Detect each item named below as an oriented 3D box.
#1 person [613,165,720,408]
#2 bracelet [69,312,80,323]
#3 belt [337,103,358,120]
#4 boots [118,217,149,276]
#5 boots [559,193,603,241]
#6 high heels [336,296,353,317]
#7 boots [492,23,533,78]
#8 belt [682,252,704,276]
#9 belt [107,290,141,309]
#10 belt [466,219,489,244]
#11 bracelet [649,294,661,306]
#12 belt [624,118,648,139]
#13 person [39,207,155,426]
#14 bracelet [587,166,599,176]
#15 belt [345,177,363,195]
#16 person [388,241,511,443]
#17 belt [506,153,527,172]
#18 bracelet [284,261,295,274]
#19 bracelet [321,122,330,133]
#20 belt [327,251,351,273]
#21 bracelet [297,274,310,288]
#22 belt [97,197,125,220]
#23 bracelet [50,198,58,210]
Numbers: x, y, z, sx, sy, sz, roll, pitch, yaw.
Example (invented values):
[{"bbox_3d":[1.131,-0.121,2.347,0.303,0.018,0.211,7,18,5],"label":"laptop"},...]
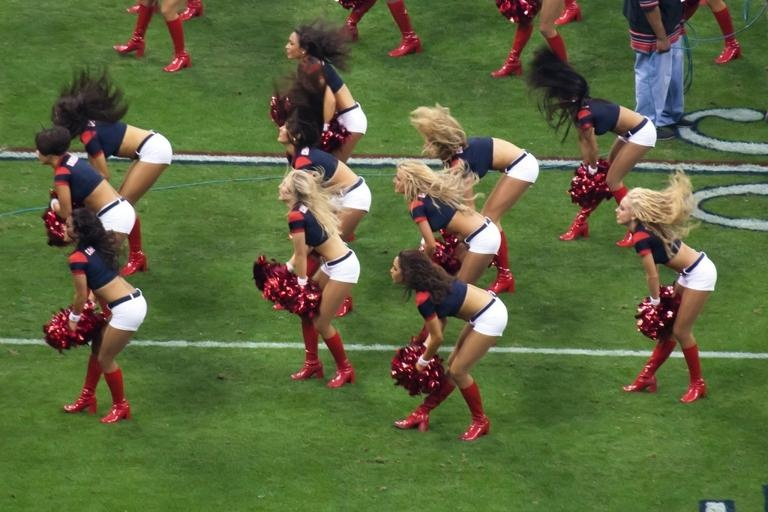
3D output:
[{"bbox_3d":[3.078,0.350,13.748,0.977,2.296,1.203,1,24,-16],"label":"person"},{"bbox_3d":[-3.275,0.645,13.434,0.112,0.067,0.102,9,16,-5],"label":"bracelet"},{"bbox_3d":[-0.425,-1.797,15.769,0.199,0.054,0.200,-22,5,43],"label":"belt"},{"bbox_3d":[-3.001,-0.090,15.177,0.428,0.729,0.200,-24,63,-27],"label":"boots"},{"bbox_3d":[2.526,-0.474,16.199,0.496,0.659,0.171,0,63,3],"label":"boots"},{"bbox_3d":[-0.441,0.604,15.077,0.157,0.112,0.272,11,34,31],"label":"high heels"},{"bbox_3d":[1.914,-3.101,19.078,0.467,0.892,0.612,9,23,2],"label":"boots"},{"bbox_3d":[3.365,0.085,13.759,0.057,0.245,0.224,50,5,-2],"label":"belt"},{"bbox_3d":[-2.740,0.466,13.389,0.249,0.056,0.236,-20,1,13],"label":"belt"},{"bbox_3d":[1.047,-0.268,14.271,0.256,0.061,0.234,-37,9,22],"label":"belt"},{"bbox_3d":[2.939,0.478,13.761,0.129,0.108,0.089,-5,23,-5],"label":"bracelet"},{"bbox_3d":[3.097,-1.555,15.610,0.265,0.065,0.258,-31,10,23],"label":"belt"},{"bbox_3d":[-2.975,0.611,13.383,0.829,2.075,1.088,-13,31,-40],"label":"person"},{"bbox_3d":[2.615,-1.053,15.852,0.120,0.096,0.090,24,4,11],"label":"bracelet"},{"bbox_3d":[-0.341,-0.799,14.923,0.203,0.074,0.196,-26,12,13],"label":"belt"},{"bbox_3d":[0.640,0.927,13.349,1.220,1.831,0.790,7,23,0],"label":"person"},{"bbox_3d":[1.568,-1.106,15.061,0.230,0.057,0.204,-39,4,-12],"label":"belt"},{"bbox_3d":[-1.049,0.124,14.272,0.115,0.100,0.106,-6,-12,-28],"label":"bracelet"},{"bbox_3d":[-0.707,-1.556,15.446,0.095,0.094,0.091,-4,48,6],"label":"bracelet"},{"bbox_3d":[-0.476,0.080,14.036,0.251,0.159,0.246,-2,-5,-13],"label":"belt"},{"bbox_3d":[-0.886,0.283,13.982,0.142,0.104,0.098,8,29,8],"label":"bracelet"},{"bbox_3d":[-3.107,-0.531,14.408,0.168,0.158,0.239,-28,4,31],"label":"belt"},{"bbox_3d":[-3.794,-0.593,14.632,0.110,0.126,0.053,4,34,22],"label":"bracelet"}]
